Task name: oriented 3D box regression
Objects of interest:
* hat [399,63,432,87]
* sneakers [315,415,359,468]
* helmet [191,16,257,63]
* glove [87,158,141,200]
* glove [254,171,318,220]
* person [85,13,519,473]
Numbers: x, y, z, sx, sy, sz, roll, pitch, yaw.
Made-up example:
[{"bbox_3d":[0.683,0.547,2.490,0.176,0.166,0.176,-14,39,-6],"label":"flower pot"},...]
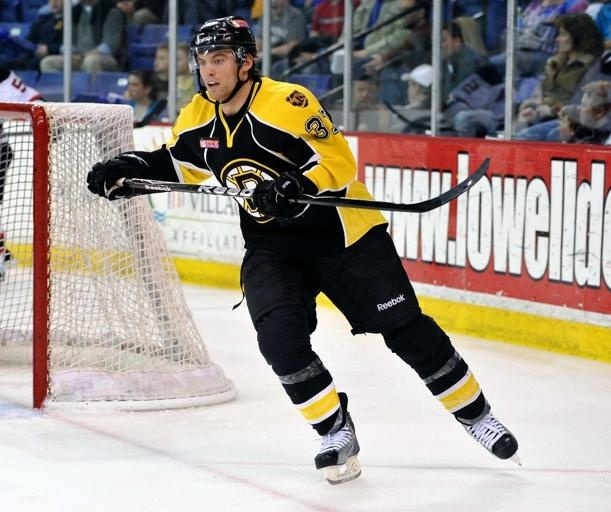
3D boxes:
[{"bbox_3d":[0.643,-1.033,5.001,0.152,0.073,0.098,22,26,37],"label":"hat"},{"bbox_3d":[0.107,0.593,2.777,0.099,0.126,0.215,5,12,26],"label":"sneakers"},{"bbox_3d":[-0.253,-0.704,2.876,0.207,0.151,0.152,-3,0,-37],"label":"helmet"},{"bbox_3d":[-0.675,-0.271,3.001,0.167,0.120,0.079,15,-22,25],"label":"glove"},{"bbox_3d":[-0.066,-0.185,2.648,0.179,0.121,0.071,-1,-17,21],"label":"glove"},{"bbox_3d":[0.012,-0.035,2.890,1.314,1.487,0.530,7,13,32],"label":"person"}]
